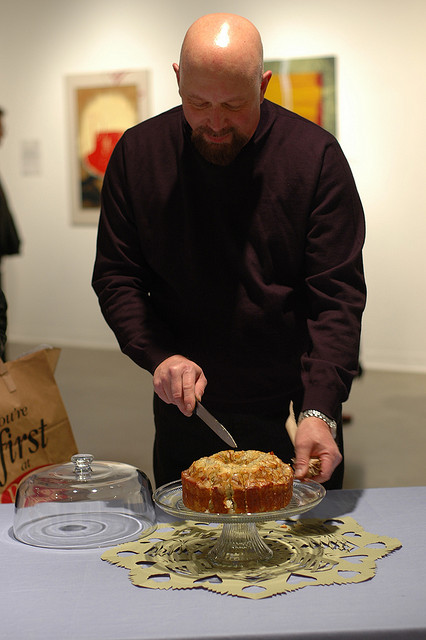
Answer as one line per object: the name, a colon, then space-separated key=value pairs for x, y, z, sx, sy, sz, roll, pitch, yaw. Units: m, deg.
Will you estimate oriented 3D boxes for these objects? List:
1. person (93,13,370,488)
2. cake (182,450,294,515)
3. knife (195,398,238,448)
person: x=0.043 y=-0.102 z=1.279 sx=0.462 sy=1.054 sz=0.707 roll=1 pitch=-4 yaw=-38
cake: x=0.040 y=0.264 z=0.914 sx=0.183 sy=0.067 sz=0.191 roll=-4 pitch=-5 yaw=31
knife: x=0.002 y=0.196 z=1.092 sx=0.068 sy=0.093 sz=0.145 roll=-2 pitch=-3 yaw=-2
